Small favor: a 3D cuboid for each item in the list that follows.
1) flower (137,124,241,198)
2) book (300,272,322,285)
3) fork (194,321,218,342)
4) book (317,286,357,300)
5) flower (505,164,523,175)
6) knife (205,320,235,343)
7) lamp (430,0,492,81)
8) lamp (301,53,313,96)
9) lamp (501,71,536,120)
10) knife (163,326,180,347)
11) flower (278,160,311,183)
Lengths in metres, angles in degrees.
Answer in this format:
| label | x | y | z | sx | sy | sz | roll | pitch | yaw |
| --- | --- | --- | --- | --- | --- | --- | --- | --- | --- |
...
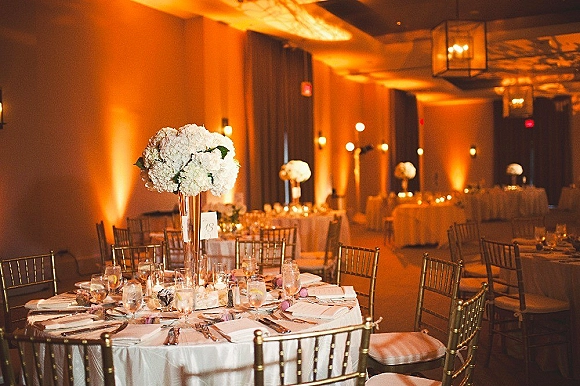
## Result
| label | x | y | z | sx | sy | sz | roll | pitch | yaw |
| --- | --- | --- | --- | --- | --- | --- | --- | --- | --- |
| flower | -0.981 | -0.390 | 4.749 | 0.719 | 0.535 | 0.750 | 0 | 15 | -5 |
| book | 0.203 | 0.878 | 5.067 | 0.201 | 0.112 | 0.314 | -2 | -1 | 1 |
| fork | -0.702 | 1.141 | 4.078 | 0.082 | 0.047 | 0.317 | -1 | 8 | -21 |
| book | 0.434 | 0.945 | 4.719 | 0.370 | 0.105 | 0.262 | -2 | -1 | 1 |
| flower | 6.816 | -0.709 | 14.954 | 0.426 | 0.361 | 0.444 | -5 | -3 | -5 |
| knife | -0.612 | 1.146 | 4.049 | 0.119 | 0.136 | 0.320 | -2 | -1 | -37 |
| lamp | 2.899 | -2.483 | 8.432 | 0.913 | 1.894 | 0.936 | -1 | 4 | -3 |
| lamp | 0.395 | -2.995 | 12.364 | 0.123 | 1.044 | 0.476 | -2 | 0 | 25 |
| lamp | 4.462 | -1.929 | 9.712 | 0.663 | 0.990 | 0.501 | -2 | 35 | 22 |
| knife | -0.963 | 1.168 | 4.032 | 0.119 | 0.134 | 0.197 | -2 | -1 | -5 |
| flower | 0.095 | -0.418 | 9.158 | 0.518 | 0.378 | 0.344 | -3 | -1 | 43 |
